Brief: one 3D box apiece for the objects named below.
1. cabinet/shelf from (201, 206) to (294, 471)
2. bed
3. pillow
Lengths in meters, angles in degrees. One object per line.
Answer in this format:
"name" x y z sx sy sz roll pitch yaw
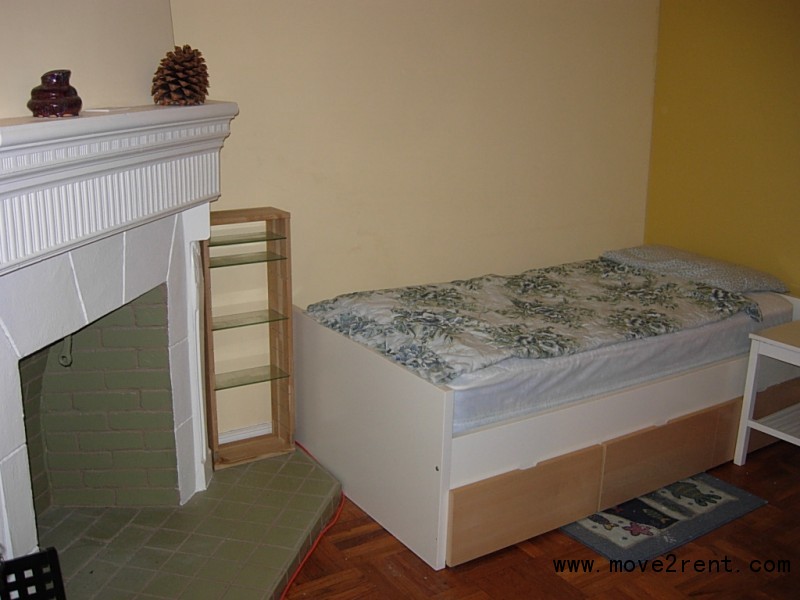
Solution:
"cabinet/shelf" -0.763 0.179 3.169 0.448 1.267 0.511 -2 21 -9
"bed" 0.677 0.463 3.229 2.144 0.919 1.133 -8 22 -24
"pillow" 1.768 -0.202 3.724 0.624 0.082 0.395 17 19 34
